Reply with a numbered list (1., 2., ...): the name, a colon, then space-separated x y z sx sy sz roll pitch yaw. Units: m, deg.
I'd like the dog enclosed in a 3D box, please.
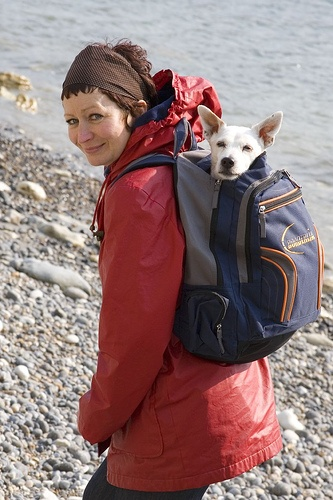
1. dog: 0.392 -0.578 3.673 0.453 0.276 0.475 4 28 -2
